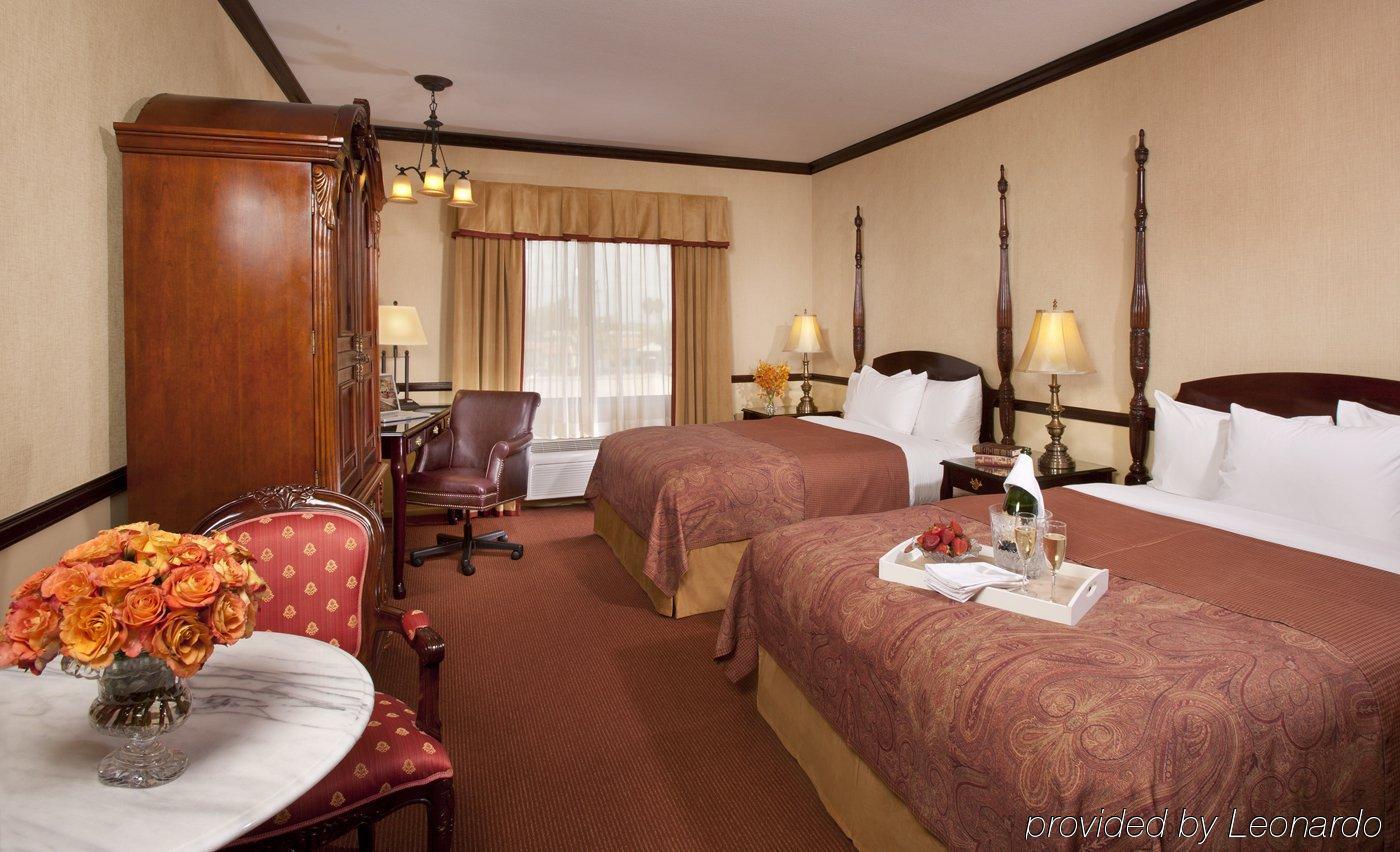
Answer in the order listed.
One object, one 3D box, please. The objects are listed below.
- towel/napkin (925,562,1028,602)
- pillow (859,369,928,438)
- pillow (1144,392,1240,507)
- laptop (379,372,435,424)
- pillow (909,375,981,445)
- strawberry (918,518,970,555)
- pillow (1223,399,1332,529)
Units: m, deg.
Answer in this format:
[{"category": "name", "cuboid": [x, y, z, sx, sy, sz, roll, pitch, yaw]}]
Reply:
[{"category": "towel/napkin", "cuboid": [1.169, 0.641, 3.720, 0.216, 0.070, 0.224, -1, 3, -24]}, {"category": "pillow", "cuboid": [1.556, -0.168, 6.982, 0.121, 0.401, 0.524, 20, -5, -27]}, {"category": "pillow", "cuboid": [2.808, 0.133, 4.939, 0.201, 0.592, 0.579, 10, -1, -25]}, {"category": "laptop", "cuboid": [-2.232, -0.157, 6.492, 0.397, 0.359, 0.579, 1, 0, -2]}, {"category": "pillow", "cuboid": [1.872, -0.107, 6.628, 0.229, 0.466, 0.497, -2, -2, -39]}, {"category": "strawberry", "cuboid": [1.094, 0.507, 3.977, 0.166, 0.076, 0.166, -5, 3, -36]}, {"category": "pillow", "cuboid": [3.069, 0.182, 4.637, 0.159, 0.539, 0.544, 8, 2, -26]}]
